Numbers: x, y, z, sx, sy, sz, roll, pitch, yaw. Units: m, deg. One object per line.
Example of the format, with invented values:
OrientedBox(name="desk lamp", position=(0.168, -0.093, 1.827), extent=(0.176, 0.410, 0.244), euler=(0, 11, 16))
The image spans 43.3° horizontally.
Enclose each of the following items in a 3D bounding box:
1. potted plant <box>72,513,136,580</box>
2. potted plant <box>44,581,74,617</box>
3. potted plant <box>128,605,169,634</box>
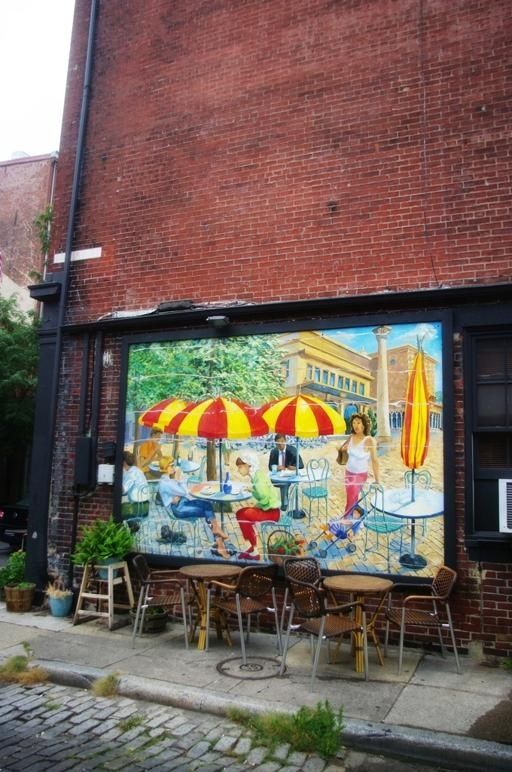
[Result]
OrientedBox(name="potted plant", position=(-1.808, 1.838, 7.511), extent=(0.671, 0.446, 0.696), euler=(-4, -6, 20))
OrientedBox(name="potted plant", position=(-2.369, 2.540, 7.722), extent=(0.320, 0.269, 0.337), euler=(1, -10, -3))
OrientedBox(name="potted plant", position=(-1.071, 2.429, 6.773), extent=(0.290, 0.183, 0.306), euler=(1, -12, -1))
